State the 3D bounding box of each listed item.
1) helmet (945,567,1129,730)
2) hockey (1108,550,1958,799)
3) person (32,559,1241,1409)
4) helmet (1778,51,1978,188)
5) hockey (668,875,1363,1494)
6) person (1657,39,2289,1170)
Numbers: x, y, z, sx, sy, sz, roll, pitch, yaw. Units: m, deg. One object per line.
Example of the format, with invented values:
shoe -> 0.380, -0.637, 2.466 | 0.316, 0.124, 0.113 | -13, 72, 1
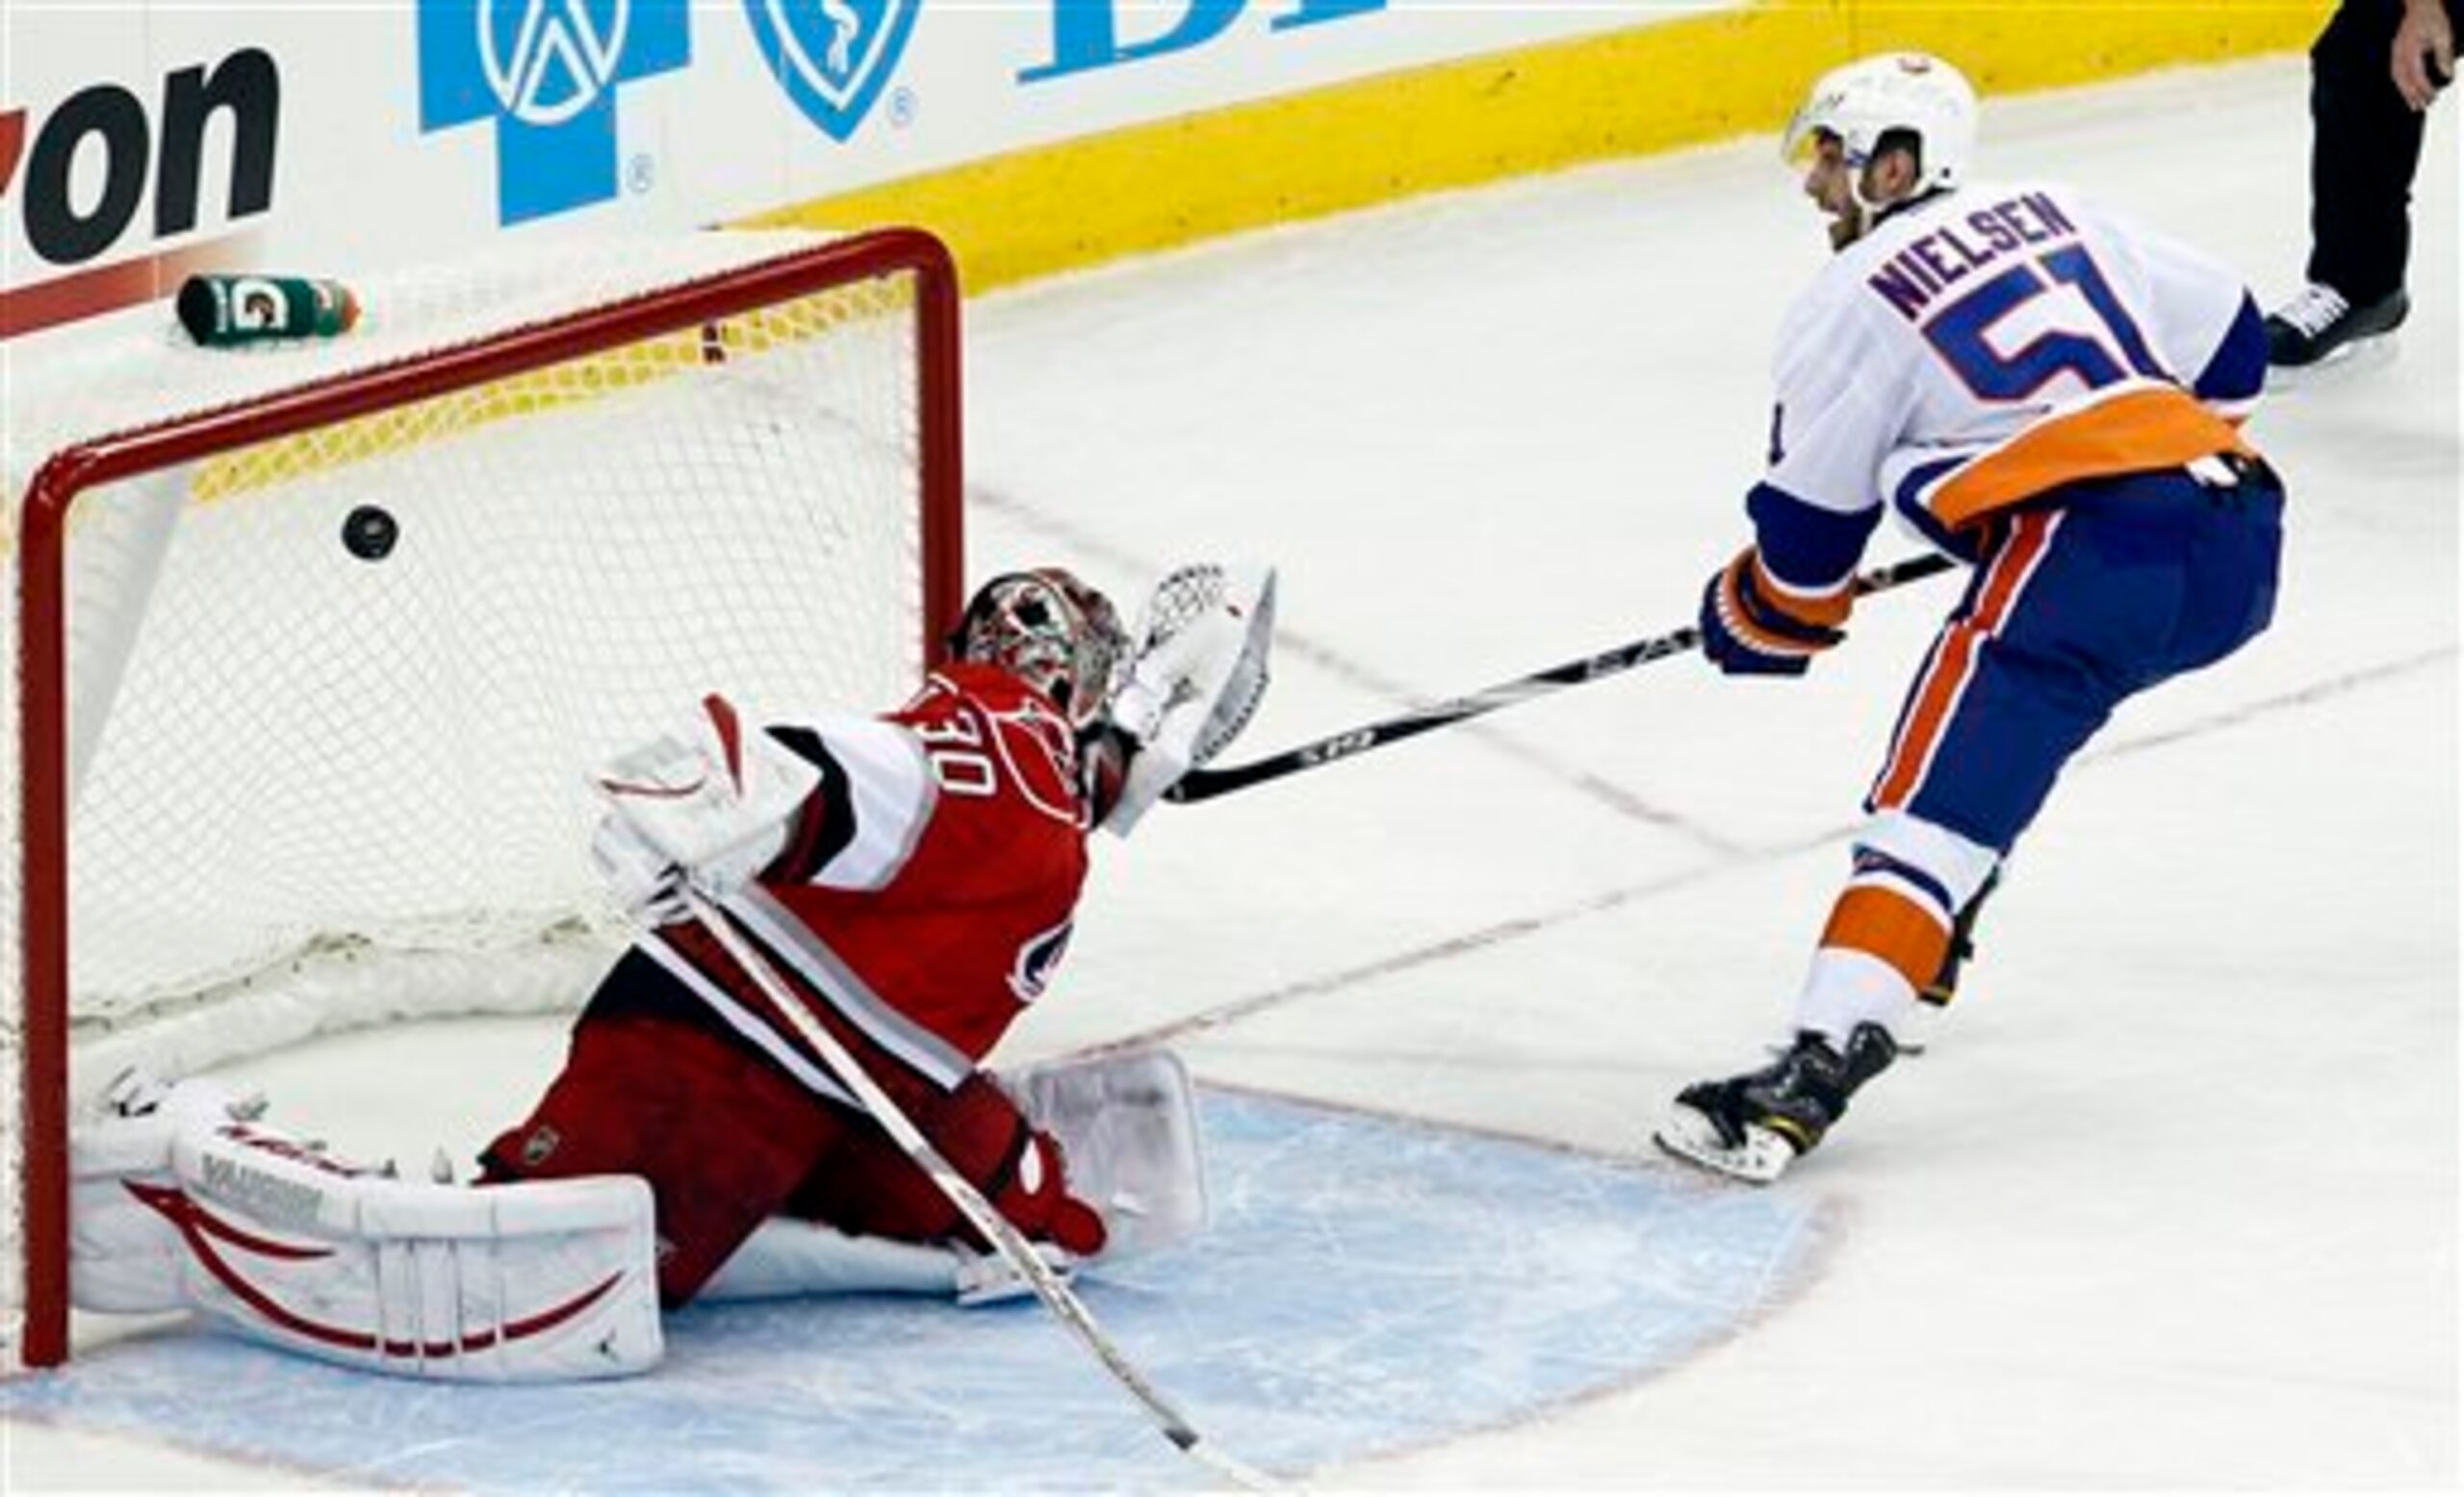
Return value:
helmet -> -0.210, -0.142, 3.258 | 0.208, 0.204, 0.187 | 2, 50, 14
hockey -> 0.533, -0.109, 4.422 | 1.251, 0.050, 0.160 | -17, 40, -2
person -> -0.753, 0.328, 3.357 | 1.118, 0.826, 1.517 | 9, 11, 30
helmet -> 0.940, -0.917, 3.758 | 0.324, 0.202, 0.241 | 3, 8, 23
hockey -> -0.291, 0.574, 3.178 | 0.051, 0.152, 1.094 | -41, 56, -14
person -> 1.015, -0.132, 3.663 | 1.137, 1.321, 0.544 | -13, 19, -36
